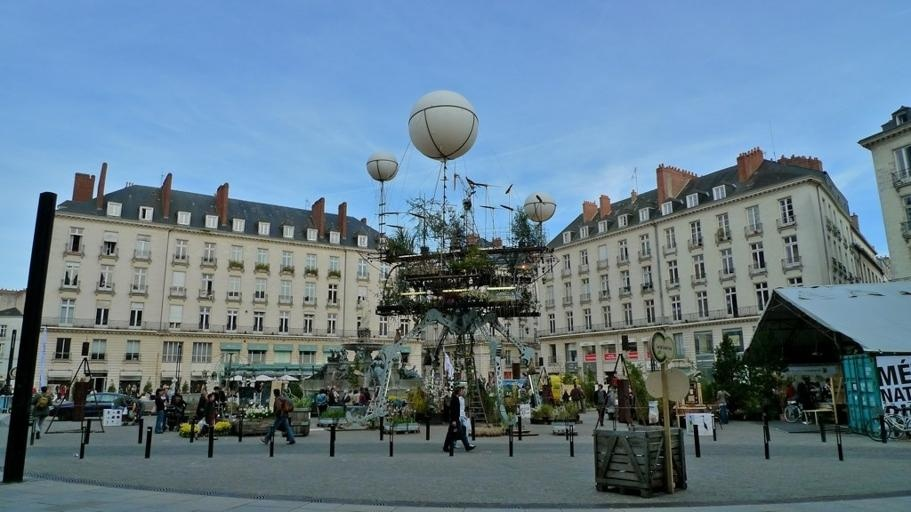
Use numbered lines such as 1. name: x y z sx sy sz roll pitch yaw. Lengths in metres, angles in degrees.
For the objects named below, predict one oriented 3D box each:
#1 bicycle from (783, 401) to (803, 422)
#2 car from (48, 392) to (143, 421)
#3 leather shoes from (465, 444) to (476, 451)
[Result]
1. bicycle: 23.149 10.634 48.220 0.491 1.308 1.104 5 -5 39
2. car: -25.760 10.828 51.039 5.568 2.125 3.821 6 -17 -23
3. leather shoes: 0.848 10.553 38.863 0.663 0.273 0.231 -14 -9 -14
